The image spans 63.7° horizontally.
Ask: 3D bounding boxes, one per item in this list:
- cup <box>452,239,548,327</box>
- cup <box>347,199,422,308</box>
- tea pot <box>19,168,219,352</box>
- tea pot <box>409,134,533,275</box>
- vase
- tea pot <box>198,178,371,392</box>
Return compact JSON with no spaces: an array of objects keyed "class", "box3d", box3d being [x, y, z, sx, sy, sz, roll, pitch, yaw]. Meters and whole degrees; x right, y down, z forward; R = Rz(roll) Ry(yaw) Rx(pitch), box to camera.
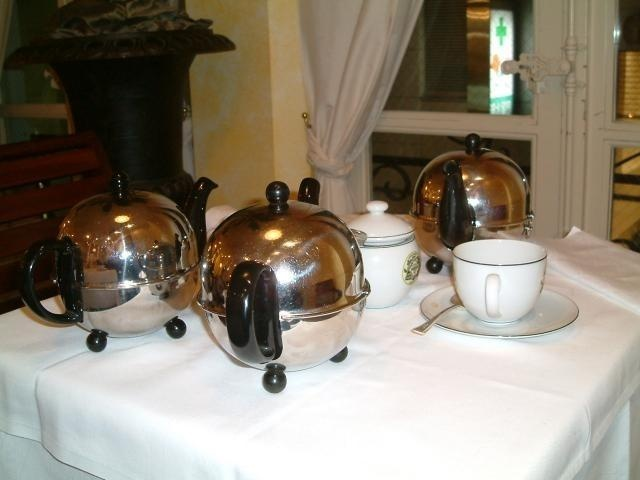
[{"class":"cup","box3d":[0.239,0.041,0.702,0.100,0.085,0.133,4,14,23]},{"class":"cup","box3d":[0.098,0.023,0.767,0.110,0.156,0.149,-1,6,0]},{"class":"tea pot","box3d":[-0.296,0.013,0.789,0.185,0.235,0.278,19,26,40]},{"class":"tea pot","box3d":[0.264,-0.081,0.929,0.185,0.250,0.250,6,15,34]},{"class":"vase","box3d":[-0.668,-0.464,1.899,0.673,0.584,0.698,-2,11,-3]},{"class":"tea pot","box3d":[-0.021,0.024,0.650,0.172,0.212,0.256,5,17,18]}]
